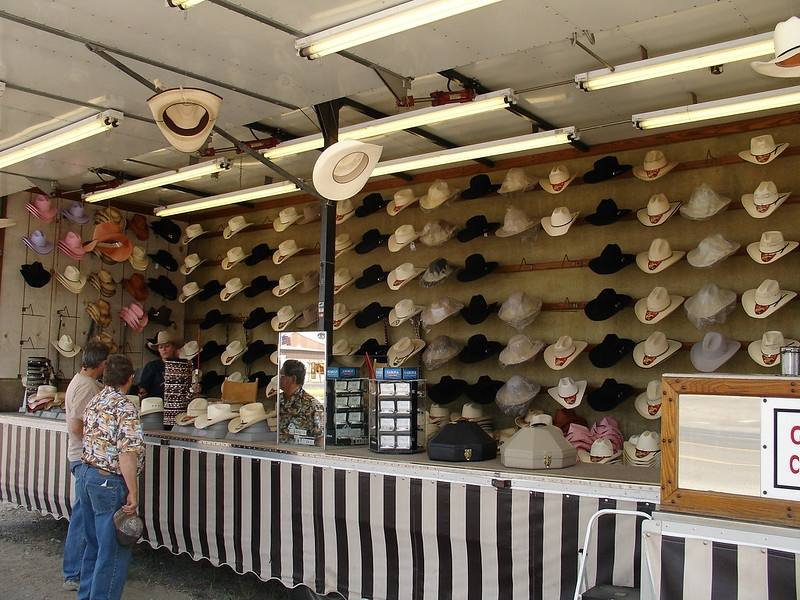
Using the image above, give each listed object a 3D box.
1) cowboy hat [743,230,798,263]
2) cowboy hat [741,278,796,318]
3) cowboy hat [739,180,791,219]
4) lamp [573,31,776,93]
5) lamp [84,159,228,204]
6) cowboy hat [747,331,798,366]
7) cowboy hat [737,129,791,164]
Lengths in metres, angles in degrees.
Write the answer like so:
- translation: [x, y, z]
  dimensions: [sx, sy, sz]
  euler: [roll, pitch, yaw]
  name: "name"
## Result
- translation: [3.675, -0.512, 7.005]
  dimensions: [0.431, 0.313, 0.367]
  euler: [8, -11, -33]
  name: "cowboy hat"
- translation: [3.662, -0.013, 7.023]
  dimensions: [0.470, 0.362, 0.398]
  euler: [3, -9, -4]
  name: "cowboy hat"
- translation: [3.639, -0.986, 7.061]
  dimensions: [0.445, 0.327, 0.300]
  euler: [-2, -10, 26]
  name: "cowboy hat"
- translation: [2.084, -1.790, 5.422]
  dimensions: [1.425, 0.145, 0.321]
  euler: [-4, -11, 34]
  name: "lamp"
- translation: [-3.180, -1.548, 9.238]
  dimensions: [0.283, 0.207, 2.875]
  euler: [3, -9, -42]
  name: "lamp"
- translation: [3.617, 0.468, 6.894]
  dimensions: [0.356, 0.351, 0.445]
  euler: [2, -9, 3]
  name: "cowboy hat"
- translation: [3.658, -1.487, 7.164]
  dimensions: [0.358, 0.249, 0.361]
  euler: [7, -10, -24]
  name: "cowboy hat"
